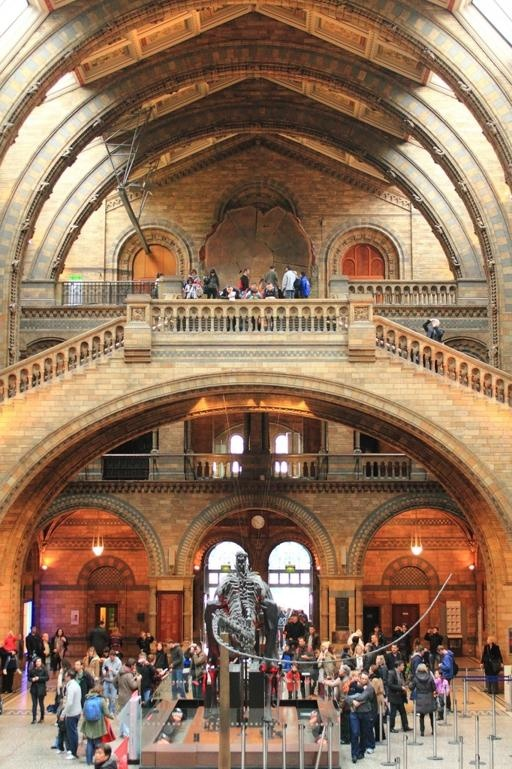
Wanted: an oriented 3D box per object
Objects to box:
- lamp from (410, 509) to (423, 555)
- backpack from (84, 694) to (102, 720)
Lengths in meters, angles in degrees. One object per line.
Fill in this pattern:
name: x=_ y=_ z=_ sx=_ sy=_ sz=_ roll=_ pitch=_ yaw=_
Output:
lamp: x=4.479 y=4.166 z=31.982 sx=0.343 sy=1.228 sz=0.409 roll=-2 pitch=-15 yaw=7
backpack: x=-2.272 y=4.502 z=15.863 sx=0.232 sy=0.364 sz=0.259 roll=1 pitch=-15 yaw=-6
